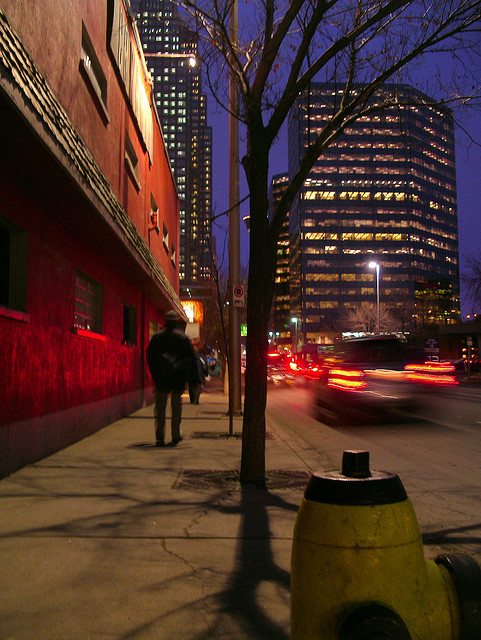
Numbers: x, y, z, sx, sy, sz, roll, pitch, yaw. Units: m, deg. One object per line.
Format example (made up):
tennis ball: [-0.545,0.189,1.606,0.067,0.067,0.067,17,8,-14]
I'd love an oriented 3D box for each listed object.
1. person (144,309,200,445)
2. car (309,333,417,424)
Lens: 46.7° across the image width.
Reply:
person: [-1.169,1.021,9.463,0.815,1.543,0.804,4,2,-27]
car: [5.073,2.315,20.277,2.195,3.548,6.431,0,-3,-5]
